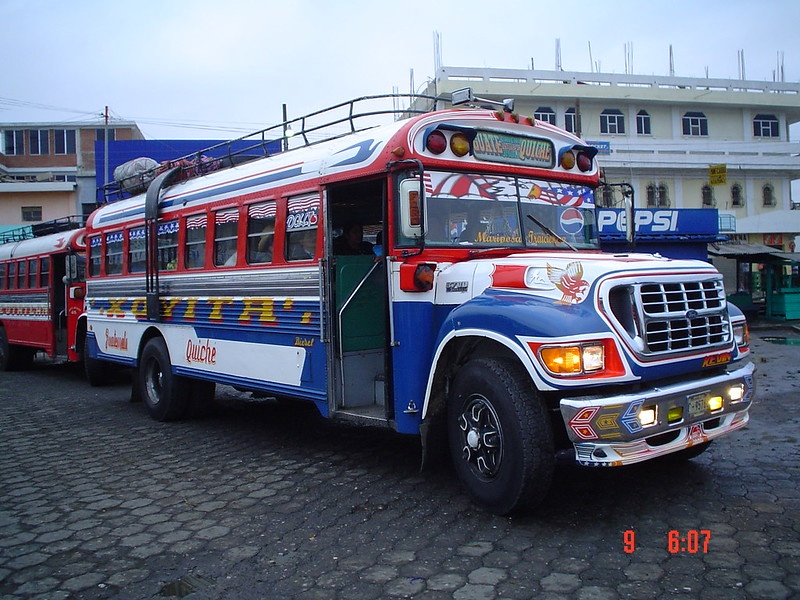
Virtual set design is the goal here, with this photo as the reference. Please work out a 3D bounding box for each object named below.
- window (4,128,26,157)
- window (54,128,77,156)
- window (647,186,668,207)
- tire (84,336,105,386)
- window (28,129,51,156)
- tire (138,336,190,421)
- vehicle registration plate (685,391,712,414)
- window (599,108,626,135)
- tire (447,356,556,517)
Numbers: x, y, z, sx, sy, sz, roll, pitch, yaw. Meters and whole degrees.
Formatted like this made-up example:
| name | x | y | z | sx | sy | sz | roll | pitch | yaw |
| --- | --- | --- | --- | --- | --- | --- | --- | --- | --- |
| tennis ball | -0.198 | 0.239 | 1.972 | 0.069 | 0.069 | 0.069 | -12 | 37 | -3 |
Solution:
| name | x | y | z | sx | sy | sz | roll | pitch | yaw |
| --- | --- | --- | --- | --- | --- | --- | --- | --- | --- |
| window | -28.989 | -11.847 | 47.448 | 2.022 | 2.476 | 0.245 | -1 | -6 | -32 |
| window | -25.286 | -11.974 | 47.554 | 1.852 | 2.300 | 0.155 | 1 | -8 | -18 |
| window | 16.206 | -6.555 | 39.730 | 1.418 | 1.579 | 0.088 | -2 | -5 | -19 |
| tire | -5.763 | 1.128 | 11.935 | 0.289 | 0.990 | 0.935 | -2 | 12 | -14 |
| window | -27.072 | -11.864 | 47.532 | 1.793 | 2.316 | 0.167 | -2 | -5 | -13 |
| tire | -3.393 | 1.137 | 9.173 | 0.343 | 1.067 | 0.992 | -1 | -15 | -37 |
| vehicle registration plate | 2.453 | 0.862 | 5.181 | 0.289 | 0.182 | 0.006 | -4 | 4 | -33 |
| window | 13.639 | -11.558 | 40.677 | 1.650 | 1.839 | 0.132 | 0 | -4 | -15 |
| tire | 0.842 | 1.164 | 5.367 | 0.284 | 1.326 | 0.972 | -4 | 4 | -41 |
